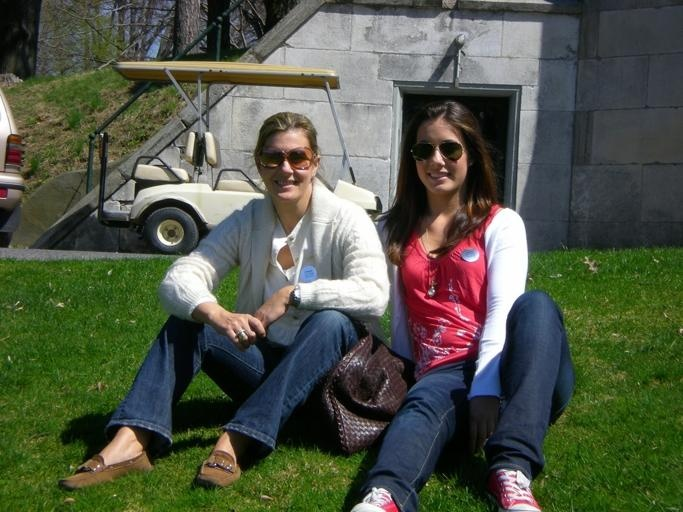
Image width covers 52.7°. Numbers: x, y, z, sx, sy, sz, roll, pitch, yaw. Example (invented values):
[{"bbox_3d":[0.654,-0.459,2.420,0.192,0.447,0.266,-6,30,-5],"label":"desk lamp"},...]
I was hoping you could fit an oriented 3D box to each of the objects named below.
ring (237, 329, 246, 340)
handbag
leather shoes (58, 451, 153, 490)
[{"bbox_3d":[-0.596,0.475,4.117,0.038,0.061,0.021,-14,-14,-22],"label":"ring"},{"bbox_3d":[0.145,0.793,4.078,0.530,0.629,0.228,47,-4,3],"label":"handbag"},{"bbox_3d":[-1.324,1.133,3.836,0.462,0.174,0.176,-6,-5,-31],"label":"leather shoes"}]
